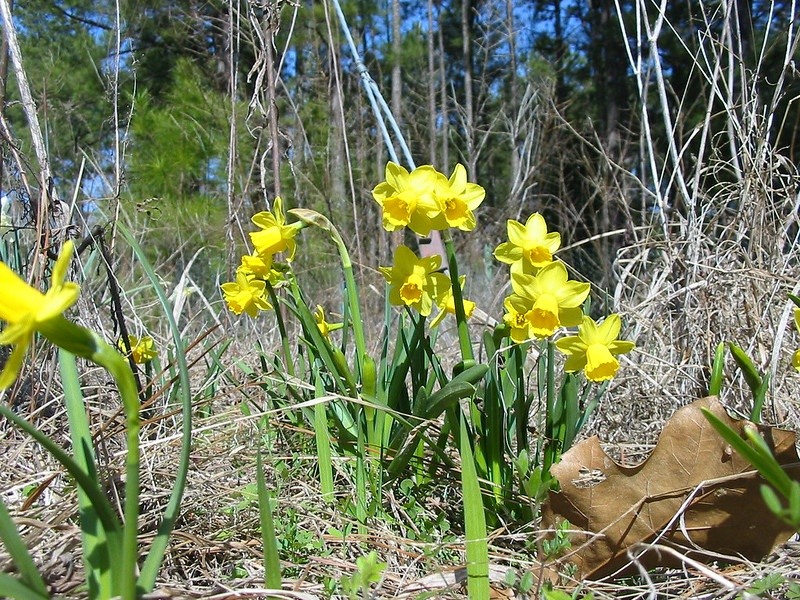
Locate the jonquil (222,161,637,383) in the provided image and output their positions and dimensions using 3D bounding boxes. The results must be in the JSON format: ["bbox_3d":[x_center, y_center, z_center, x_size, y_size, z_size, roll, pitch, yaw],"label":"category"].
[{"bbox_3d":[0.131,-0.133,3.576,1.516,0.774,0.468,5,28,16],"label":"jonquil"}]
